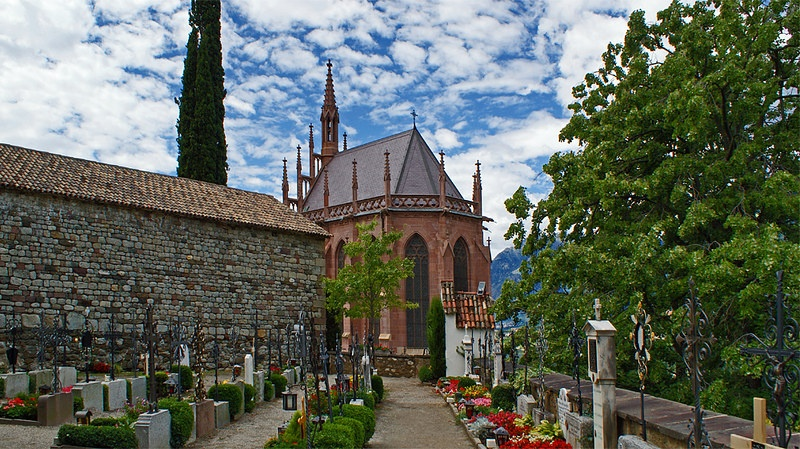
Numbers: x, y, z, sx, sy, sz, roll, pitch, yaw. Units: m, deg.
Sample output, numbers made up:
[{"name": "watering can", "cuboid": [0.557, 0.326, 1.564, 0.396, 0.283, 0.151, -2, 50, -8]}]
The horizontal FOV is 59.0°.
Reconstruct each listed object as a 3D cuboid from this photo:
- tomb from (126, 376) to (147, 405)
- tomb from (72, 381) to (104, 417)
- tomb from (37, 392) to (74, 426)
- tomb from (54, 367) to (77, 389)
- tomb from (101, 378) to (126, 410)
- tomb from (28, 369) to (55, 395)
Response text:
[{"name": "tomb", "cuboid": [-11.711, 7.458, 31.421, 0.297, 0.869, 0.916, -8, -11, 21]}, {"name": "tomb", "cuboid": [-13.279, 7.487, 30.268, 0.484, 1.260, 1.353, -12, -10, 16]}, {"name": "tomb", "cuboid": [-14.213, 7.685, 29.285, 0.499, 1.259, 1.477, -8, -7, 18]}, {"name": "tomb", "cuboid": [-14.943, 6.881, 31.489, 0.528, 0.944, 0.992, -3, -10, -7]}, {"name": "tomb", "cuboid": [-12.682, 7.482, 31.143, 0.732, 1.229, 1.300, 1, 0, 15]}, {"name": "tomb", "cuboid": [-15.966, 7.078, 31.454, 0.380, 0.992, 1.162, -7, -9, 24]}]
